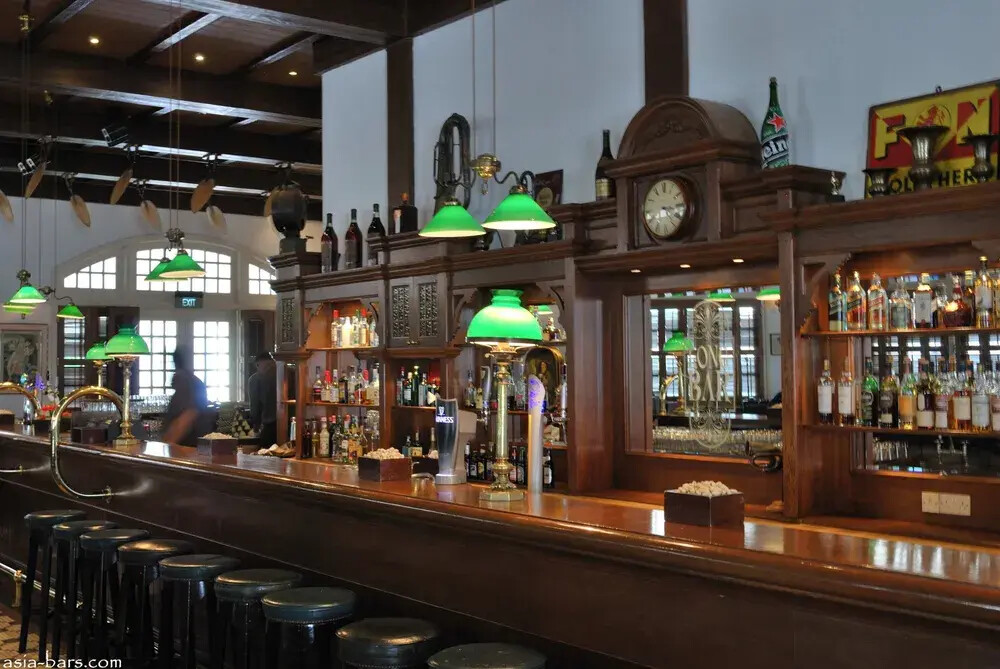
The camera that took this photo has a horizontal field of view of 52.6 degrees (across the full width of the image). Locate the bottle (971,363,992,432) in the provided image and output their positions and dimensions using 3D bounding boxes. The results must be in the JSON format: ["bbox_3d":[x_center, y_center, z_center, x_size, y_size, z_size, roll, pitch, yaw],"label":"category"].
[{"bbox_3d":[2.756,0.373,5.832,0.096,0.367,0.085,-3,-2,29],"label":"bottle"}]

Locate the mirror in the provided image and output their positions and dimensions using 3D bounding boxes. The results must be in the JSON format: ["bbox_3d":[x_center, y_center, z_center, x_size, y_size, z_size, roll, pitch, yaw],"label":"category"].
[{"bbox_3d":[1.402,0.270,6.840,0.054,1.318,1.296,2,-3,-42],"label":"mirror"}]

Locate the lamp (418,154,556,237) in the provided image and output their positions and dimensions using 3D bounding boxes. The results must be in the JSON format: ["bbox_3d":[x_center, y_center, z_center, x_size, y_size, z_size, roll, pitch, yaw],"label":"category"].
[{"bbox_3d":[-0.062,-0.904,6.501,0.951,0.447,0.594,-3,5,32],"label":"lamp"}]

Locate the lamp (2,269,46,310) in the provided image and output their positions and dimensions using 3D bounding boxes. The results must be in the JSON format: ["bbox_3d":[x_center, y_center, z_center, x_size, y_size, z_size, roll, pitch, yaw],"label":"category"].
[{"bbox_3d":[-6.014,-0.577,12.749,0.602,0.668,0.660,-1,-2,-23],"label":"lamp"}]

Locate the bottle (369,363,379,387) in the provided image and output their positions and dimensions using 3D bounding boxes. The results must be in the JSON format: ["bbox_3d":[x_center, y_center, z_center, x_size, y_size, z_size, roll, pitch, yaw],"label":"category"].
[{"bbox_3d":[-1.098,0.362,8.839,0.069,0.207,0.202,-1,-2,-14],"label":"bottle"}]

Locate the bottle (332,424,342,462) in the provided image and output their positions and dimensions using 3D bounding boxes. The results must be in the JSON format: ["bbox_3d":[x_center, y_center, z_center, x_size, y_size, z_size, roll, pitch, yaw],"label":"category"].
[{"bbox_3d":[-1.430,0.960,8.927,0.089,0.326,0.212,-1,-2,-12],"label":"bottle"}]

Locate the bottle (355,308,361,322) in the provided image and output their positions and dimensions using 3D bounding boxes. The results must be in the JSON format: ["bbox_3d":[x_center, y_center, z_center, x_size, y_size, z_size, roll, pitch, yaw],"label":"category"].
[{"bbox_3d":[-1.253,-0.167,8.998,0.066,0.122,0.067,-3,-4,0],"label":"bottle"}]

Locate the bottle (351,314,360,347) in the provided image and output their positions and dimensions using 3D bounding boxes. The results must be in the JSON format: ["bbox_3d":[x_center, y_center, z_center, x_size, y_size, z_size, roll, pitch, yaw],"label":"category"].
[{"bbox_3d":[-1.275,-0.021,8.927,0.066,0.274,0.130,-2,-2,-8],"label":"bottle"}]

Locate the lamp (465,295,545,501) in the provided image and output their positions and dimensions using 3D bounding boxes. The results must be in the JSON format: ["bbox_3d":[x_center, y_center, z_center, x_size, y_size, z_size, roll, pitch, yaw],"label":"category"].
[{"bbox_3d":[0.030,0.325,5.769,0.421,1.192,0.504,-2,-2,1],"label":"lamp"}]

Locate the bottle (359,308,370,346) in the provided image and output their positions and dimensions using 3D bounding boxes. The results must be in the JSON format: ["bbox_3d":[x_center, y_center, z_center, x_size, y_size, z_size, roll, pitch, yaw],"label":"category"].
[{"bbox_3d":[-1.184,-0.050,8.849,0.049,0.314,0.111,-1,-2,-26],"label":"bottle"}]

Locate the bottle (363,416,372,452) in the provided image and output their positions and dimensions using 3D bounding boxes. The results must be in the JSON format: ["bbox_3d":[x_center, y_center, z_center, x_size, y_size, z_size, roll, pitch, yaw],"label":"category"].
[{"bbox_3d":[-1.140,0.867,8.721,0.076,0.306,0.291,-1,-2,-14],"label":"bottle"}]

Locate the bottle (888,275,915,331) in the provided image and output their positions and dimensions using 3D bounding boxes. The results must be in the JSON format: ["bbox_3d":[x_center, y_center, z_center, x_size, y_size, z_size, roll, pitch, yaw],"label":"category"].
[{"bbox_3d":[2.391,-0.184,6.052,0.127,0.316,0.062,-2,-2,17],"label":"bottle"}]

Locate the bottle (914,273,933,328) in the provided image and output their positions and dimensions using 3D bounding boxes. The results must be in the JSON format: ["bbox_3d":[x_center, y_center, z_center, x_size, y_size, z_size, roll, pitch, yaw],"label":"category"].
[{"bbox_3d":[2.494,-0.203,5.993,0.110,0.317,0.033,-3,-2,23],"label":"bottle"}]

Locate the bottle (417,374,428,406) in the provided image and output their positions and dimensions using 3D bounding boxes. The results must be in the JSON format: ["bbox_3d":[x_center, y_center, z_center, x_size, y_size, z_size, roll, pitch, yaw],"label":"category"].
[{"bbox_3d":[-0.636,0.466,8.315,0.077,0.233,0.185,-2,-2,-4],"label":"bottle"}]

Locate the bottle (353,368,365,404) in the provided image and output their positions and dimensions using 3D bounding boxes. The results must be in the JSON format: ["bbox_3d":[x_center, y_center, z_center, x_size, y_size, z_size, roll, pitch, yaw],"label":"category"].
[{"bbox_3d":[-1.226,0.472,8.875,0.092,0.282,0.137,-1,-2,-19],"label":"bottle"}]

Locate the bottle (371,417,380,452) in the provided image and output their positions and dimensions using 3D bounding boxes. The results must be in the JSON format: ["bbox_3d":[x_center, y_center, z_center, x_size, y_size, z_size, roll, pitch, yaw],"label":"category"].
[{"bbox_3d":[-1.043,0.830,8.511,0.047,0.292,0.292,-1,-2,-16],"label":"bottle"}]

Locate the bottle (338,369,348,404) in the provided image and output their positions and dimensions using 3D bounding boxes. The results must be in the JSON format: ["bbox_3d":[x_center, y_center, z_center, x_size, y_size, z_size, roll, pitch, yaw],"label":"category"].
[{"bbox_3d":[-1.402,0.477,9.078,0.087,0.281,0.252,-1,-2,-14],"label":"bottle"}]

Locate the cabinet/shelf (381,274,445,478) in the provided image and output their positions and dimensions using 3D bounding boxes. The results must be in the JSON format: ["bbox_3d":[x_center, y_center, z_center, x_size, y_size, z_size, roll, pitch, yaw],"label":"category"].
[{"bbox_3d":[-0.630,0.263,8.236,0.348,1.390,0.752,0,-2,-38],"label":"cabinet/shelf"}]

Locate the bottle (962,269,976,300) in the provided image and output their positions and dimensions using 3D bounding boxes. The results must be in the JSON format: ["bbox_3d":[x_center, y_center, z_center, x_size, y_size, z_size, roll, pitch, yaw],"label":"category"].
[{"bbox_3d":[2.717,-0.292,5.883,0.064,0.163,0.025,-3,-2,27],"label":"bottle"}]

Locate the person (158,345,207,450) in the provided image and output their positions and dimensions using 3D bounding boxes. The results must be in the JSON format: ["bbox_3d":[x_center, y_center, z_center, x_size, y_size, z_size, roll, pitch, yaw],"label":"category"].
[{"bbox_3d":[-2.717,0.549,8.722,0.393,0.867,0.501,-1,-2,-17],"label":"person"}]

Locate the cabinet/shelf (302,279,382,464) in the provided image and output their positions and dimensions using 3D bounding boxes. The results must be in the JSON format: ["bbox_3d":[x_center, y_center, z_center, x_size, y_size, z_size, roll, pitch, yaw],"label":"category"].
[{"bbox_3d":[-1.367,0.492,8.987,0.918,1.559,0.367,4,0,0],"label":"cabinet/shelf"}]

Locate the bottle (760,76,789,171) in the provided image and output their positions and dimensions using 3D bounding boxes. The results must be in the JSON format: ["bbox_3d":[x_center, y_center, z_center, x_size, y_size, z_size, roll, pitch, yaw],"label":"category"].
[{"bbox_3d":[1.749,-1.375,6.498,0.185,0.628,0.263,-2,-2,15],"label":"bottle"}]

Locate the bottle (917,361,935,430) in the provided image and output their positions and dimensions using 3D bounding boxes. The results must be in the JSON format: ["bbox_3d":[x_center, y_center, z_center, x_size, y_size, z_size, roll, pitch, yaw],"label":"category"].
[{"bbox_3d":[2.507,0.349,5.981,0.098,0.406,0.088,-3,-2,23],"label":"bottle"}]

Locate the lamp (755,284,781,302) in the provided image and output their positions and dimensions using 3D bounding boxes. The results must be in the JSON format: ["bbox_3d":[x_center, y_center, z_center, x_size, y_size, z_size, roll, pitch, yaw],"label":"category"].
[{"bbox_3d":[1.721,-0.259,6.546,0.038,0.110,0.159,0,-2,-35],"label":"lamp"}]

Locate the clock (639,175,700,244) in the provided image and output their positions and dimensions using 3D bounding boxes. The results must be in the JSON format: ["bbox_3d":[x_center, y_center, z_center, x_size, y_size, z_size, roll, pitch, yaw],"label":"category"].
[{"bbox_3d":[1.135,-0.833,6.683,0.075,0.544,0.466,4,-5,-39],"label":"clock"}]

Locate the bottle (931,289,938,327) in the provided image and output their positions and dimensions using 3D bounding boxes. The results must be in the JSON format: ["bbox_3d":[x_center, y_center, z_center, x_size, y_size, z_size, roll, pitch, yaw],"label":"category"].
[{"bbox_3d":[2.555,-0.147,5.963,0.047,0.204,0.018,-3,-2,21],"label":"bottle"}]

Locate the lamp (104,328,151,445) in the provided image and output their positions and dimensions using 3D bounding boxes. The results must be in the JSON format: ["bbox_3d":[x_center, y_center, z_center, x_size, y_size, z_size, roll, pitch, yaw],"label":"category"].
[{"bbox_3d":[-2.959,0.400,8.056,0.303,0.945,0.821,-1,-2,-21],"label":"lamp"}]

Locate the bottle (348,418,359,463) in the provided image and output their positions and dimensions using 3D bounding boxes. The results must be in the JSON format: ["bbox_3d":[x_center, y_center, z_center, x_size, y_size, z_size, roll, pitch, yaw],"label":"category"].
[{"bbox_3d":[-1.266,0.930,8.831,0.091,0.380,0.325,-1,-2,-11],"label":"bottle"}]

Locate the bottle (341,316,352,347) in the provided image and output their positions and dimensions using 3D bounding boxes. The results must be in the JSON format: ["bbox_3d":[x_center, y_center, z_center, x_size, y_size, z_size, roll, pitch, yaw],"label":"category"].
[{"bbox_3d":[-1.345,-0.012,8.980,0.082,0.258,0.094,-3,-2,27],"label":"bottle"}]

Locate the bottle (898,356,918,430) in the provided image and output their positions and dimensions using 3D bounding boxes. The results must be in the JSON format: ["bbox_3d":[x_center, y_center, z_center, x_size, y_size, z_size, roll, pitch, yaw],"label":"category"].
[{"bbox_3d":[2.420,0.350,6.039,0.104,0.415,0.080,-3,-2,23],"label":"bottle"}]

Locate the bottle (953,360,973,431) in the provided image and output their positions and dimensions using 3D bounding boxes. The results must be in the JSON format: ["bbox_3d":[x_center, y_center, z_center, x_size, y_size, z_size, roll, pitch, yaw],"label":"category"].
[{"bbox_3d":[2.673,0.350,5.878,0.107,0.409,0.091,-3,-2,24],"label":"bottle"}]

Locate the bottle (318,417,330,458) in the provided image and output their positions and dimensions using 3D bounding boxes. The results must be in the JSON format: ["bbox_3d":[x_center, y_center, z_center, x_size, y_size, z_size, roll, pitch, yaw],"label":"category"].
[{"bbox_3d":[-1.587,0.939,9.111,0.091,0.347,0.212,-1,-2,-20],"label":"bottle"}]

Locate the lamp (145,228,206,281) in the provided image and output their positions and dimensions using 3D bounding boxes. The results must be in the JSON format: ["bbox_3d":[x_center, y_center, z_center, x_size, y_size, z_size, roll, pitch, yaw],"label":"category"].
[{"bbox_3d":[-2.849,-0.810,8.884,0.433,0.463,0.419,-6,12,12],"label":"lamp"}]

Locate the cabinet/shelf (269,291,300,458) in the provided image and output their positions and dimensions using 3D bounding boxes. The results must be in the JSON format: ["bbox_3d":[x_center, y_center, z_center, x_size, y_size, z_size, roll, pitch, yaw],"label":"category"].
[{"bbox_3d":[-2.015,0.541,9.607,0.286,1.574,0.273,0,2,-10],"label":"cabinet/shelf"}]

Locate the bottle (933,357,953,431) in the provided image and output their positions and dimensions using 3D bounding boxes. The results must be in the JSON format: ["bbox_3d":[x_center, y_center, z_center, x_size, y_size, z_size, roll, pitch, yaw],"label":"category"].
[{"bbox_3d":[2.587,0.349,5.931,0.088,0.418,0.098,-3,-2,32],"label":"bottle"}]

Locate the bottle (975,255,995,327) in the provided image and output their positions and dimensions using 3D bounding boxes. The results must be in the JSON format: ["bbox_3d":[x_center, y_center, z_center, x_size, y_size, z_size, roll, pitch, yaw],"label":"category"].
[{"bbox_3d":[2.778,-0.235,5.822,0.109,0.417,0.075,-3,-2,26],"label":"bottle"}]
